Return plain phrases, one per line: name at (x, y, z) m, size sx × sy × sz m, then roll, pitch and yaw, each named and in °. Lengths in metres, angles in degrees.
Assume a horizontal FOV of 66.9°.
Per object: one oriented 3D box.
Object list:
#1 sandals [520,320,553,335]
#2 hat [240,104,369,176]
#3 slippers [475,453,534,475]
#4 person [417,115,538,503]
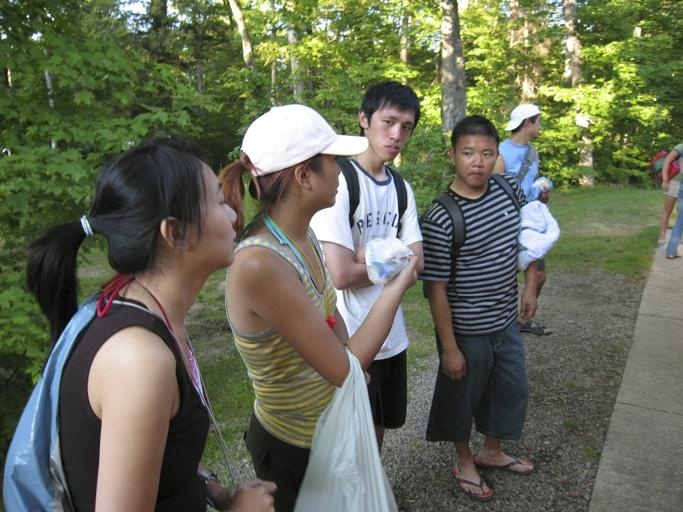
sandals at (2.153, 0.781, 5.714) m, size 0.341 × 0.139 × 0.136 m, roll 1°, pitch 11°, yaw 12°
hat at (-0.204, -0.524, 2.219) m, size 0.413 × 0.217 × 0.273 m, roll -9°, pitch 23°, yaw -8°
slippers at (1.170, 1.457, 3.684) m, size 0.336 × 0.101 × 0.163 m, roll -2°, pitch 10°, yaw 16°
person at (0.940, 0.331, 3.463) m, size 0.883 × 2.454 × 0.589 m, roll -6°, pitch 14°, yaw -29°
